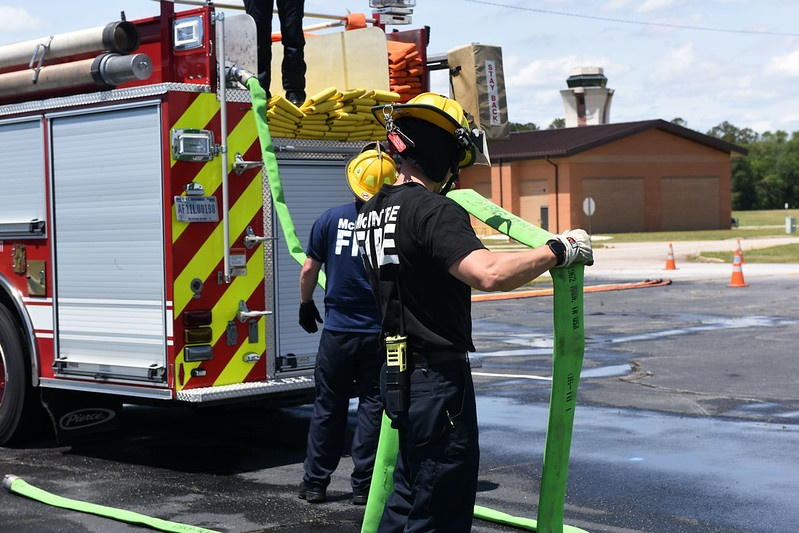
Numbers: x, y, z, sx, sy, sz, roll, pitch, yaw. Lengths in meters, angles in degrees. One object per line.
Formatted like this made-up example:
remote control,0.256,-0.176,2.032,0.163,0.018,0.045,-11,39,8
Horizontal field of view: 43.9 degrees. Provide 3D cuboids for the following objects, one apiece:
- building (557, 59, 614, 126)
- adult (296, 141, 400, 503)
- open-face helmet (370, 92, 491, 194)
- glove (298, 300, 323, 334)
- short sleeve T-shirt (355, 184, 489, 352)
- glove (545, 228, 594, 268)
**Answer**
building,13.077,-11.402,69.107,3.694,4.390,3.757,6,10,31
adult,-0.367,0.480,8.595,1.053,2.917,0.979,4,-3,9
open-face helmet,0.217,-0.800,6.573,0.748,0.559,0.629,25,-8,-22
glove,-0.741,0.408,8.671,0.281,0.258,0.122,5,24,32
short sleeve T-shirt,0.113,0.001,6.403,0.522,0.932,1.415,-4,4,-29
glove,1.081,-0.108,6.196,0.227,0.119,0.279,-6,5,-1
